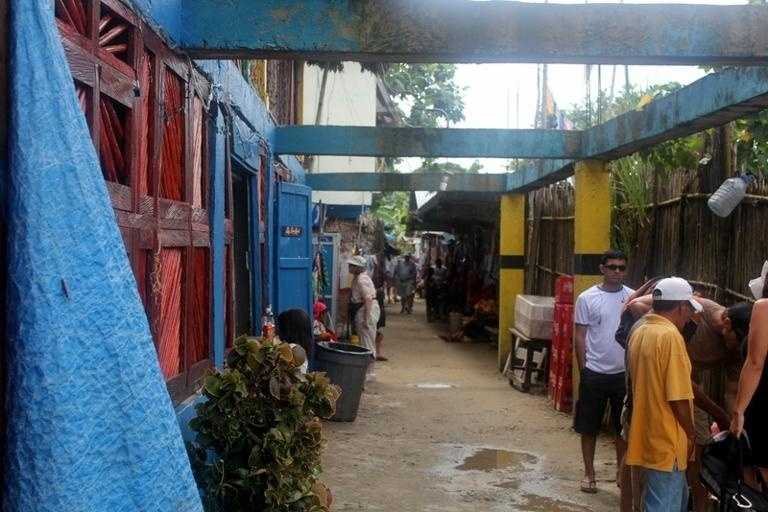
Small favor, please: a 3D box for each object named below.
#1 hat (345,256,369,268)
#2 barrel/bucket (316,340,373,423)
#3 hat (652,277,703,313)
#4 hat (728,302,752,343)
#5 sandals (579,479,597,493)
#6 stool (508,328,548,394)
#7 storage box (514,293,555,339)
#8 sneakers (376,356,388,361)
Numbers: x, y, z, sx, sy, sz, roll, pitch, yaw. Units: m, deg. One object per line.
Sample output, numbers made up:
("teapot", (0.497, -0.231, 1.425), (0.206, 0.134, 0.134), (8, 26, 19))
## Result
("hat", (-0.473, 0.099, 12.885), (0.375, 0.195, 0.257), (24, -13, -36))
("barrel/bucket", (-0.451, 1.482, 9.152), (0.887, 1.053, 0.914), (2, 0, 0))
("hat", (2.141, 0.285, 5.411), (0.317, 0.202, 0.219), (7, 2, -4))
("hat", (2.643, 0.499, 5.441), (0.137, 0.312, 0.359), (1, 2, 9))
("sandals", (1.909, 2.109, 6.832), (0.160, 0.134, 0.156), (1, 2, 11))
("stool", (2.297, 1.618, 11.290), (0.614, 0.859, 0.906), (3, 6, -7))
("storage box", (2.250, 0.925, 11.017), (0.444, 0.501, 0.752), (4, 6, -16))
("sneakers", (-0.042, 1.910, 13.751), (0.225, 0.156, 0.081), (0, 7, -10))
